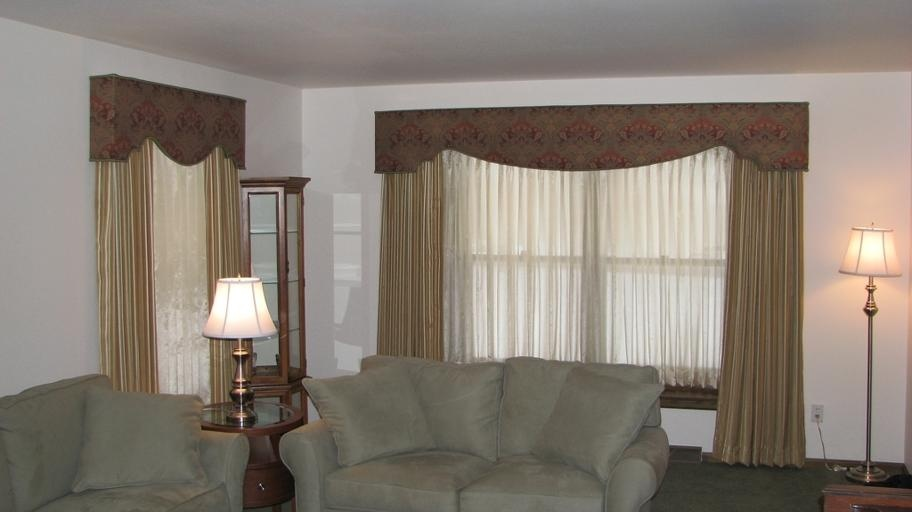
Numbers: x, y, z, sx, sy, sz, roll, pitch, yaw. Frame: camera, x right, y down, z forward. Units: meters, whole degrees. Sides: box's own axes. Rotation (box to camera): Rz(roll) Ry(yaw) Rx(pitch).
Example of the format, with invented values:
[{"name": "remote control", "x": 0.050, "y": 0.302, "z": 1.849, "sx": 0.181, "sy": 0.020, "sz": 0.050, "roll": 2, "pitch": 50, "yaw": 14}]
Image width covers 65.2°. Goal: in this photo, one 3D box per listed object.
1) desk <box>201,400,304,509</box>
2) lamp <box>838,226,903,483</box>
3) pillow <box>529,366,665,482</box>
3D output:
[{"name": "desk", "x": -1.921, "y": 1.749, "z": 6.680, "sx": 0.975, "sy": 0.846, "sz": 1.018, "roll": 0, "pitch": 1, "yaw": -18}, {"name": "lamp", "x": 4.235, "y": 0.971, "z": 7.328, "sx": 0.520, "sy": 2.589, "sz": 0.617, "roll": 1, "pitch": 2, "yaw": 28}, {"name": "pillow", "x": 1.212, "y": 1.432, "z": 6.161, "sx": 0.948, "sy": 0.855, "sz": 0.484, "roll": 0, "pitch": 1, "yaw": 35}]
